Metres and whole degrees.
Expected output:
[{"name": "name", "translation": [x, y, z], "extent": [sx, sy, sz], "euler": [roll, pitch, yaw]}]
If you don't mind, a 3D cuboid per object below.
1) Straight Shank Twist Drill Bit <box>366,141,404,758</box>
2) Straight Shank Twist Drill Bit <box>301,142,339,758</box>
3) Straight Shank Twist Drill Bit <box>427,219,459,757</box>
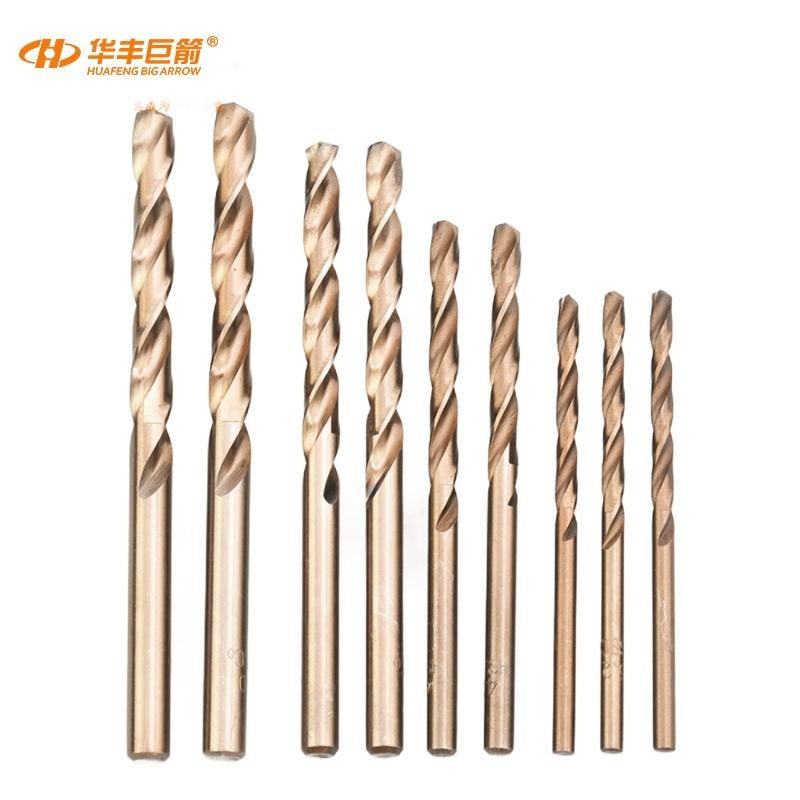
[{"name": "Straight Shank Twist Drill Bit", "translation": [-0.081, 0.109, 6.053], "extent": [0.198, 2.605, 0.231], "euler": [0, -1, -17]}, {"name": "Straight Shank Twist Drill Bit", "translation": [-0.335, 0.157, 5.987], "extent": [0.186, 2.478, 0.238], "euler": [1, -3, 2]}, {"name": "Straight Shank Twist Drill Bit", "translation": [0.177, 0.295, 6.140], "extent": [0.184, 2.294, 0.192], "euler": [-11, -19, 34]}]
